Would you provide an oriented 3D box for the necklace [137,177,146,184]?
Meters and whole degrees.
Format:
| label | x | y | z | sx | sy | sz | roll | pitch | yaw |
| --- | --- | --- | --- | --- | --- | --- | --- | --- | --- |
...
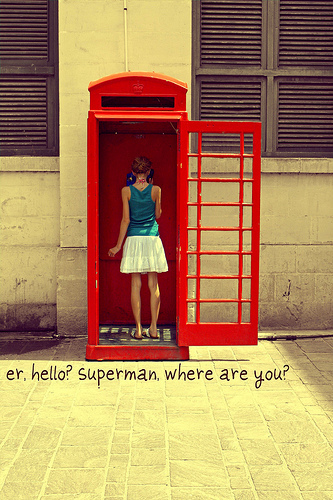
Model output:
| label | x | y | z | sx | sy | sz | roll | pitch | yaw |
| --- | --- | --- | --- | --- | --- | --- | --- | --- | --- |
| necklace | -0.217 | -0.573 | 5.812 | 0.081 | 0.079 | 0.037 | 4 | 0 | 26 |

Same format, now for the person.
| label | x | y | z | sx | sy | sz | roll | pitch | yaw |
| --- | --- | --- | --- | --- | --- | --- | --- | --- | --- |
| person | -0.243 | -0.007 | 5.929 | 0.477 | 1.542 | 0.434 | 0 | 8 | -1 |
